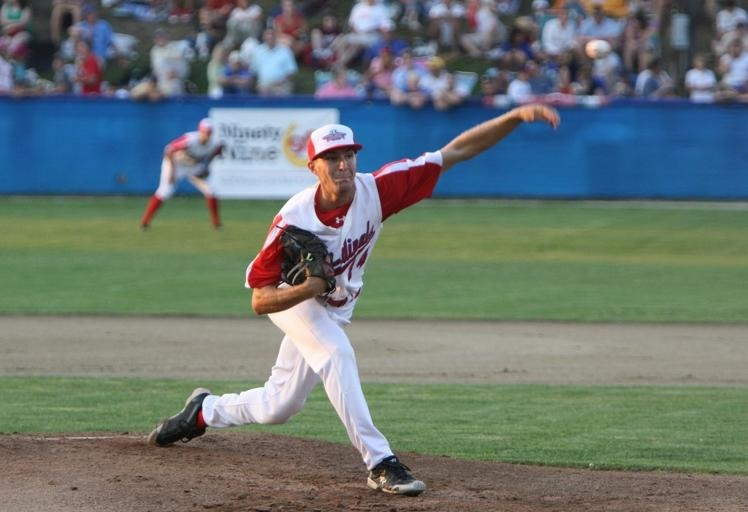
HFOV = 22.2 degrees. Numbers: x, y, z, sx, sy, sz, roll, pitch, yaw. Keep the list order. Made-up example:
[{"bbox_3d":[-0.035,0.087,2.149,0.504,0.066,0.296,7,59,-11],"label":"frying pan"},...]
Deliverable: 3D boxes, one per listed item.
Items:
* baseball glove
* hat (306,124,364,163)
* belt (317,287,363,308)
[{"bbox_3d":[-0.735,0.040,19.687,0.581,0.673,0.327,-9,-2,1],"label":"baseball glove"},{"bbox_3d":[-0.452,-1.194,20.053,0.491,0.294,0.640,-12,-7,-11],"label":"hat"},{"bbox_3d":[-0.361,0.441,20.060,0.239,0.152,0.312,-2,-7,-13],"label":"belt"}]
